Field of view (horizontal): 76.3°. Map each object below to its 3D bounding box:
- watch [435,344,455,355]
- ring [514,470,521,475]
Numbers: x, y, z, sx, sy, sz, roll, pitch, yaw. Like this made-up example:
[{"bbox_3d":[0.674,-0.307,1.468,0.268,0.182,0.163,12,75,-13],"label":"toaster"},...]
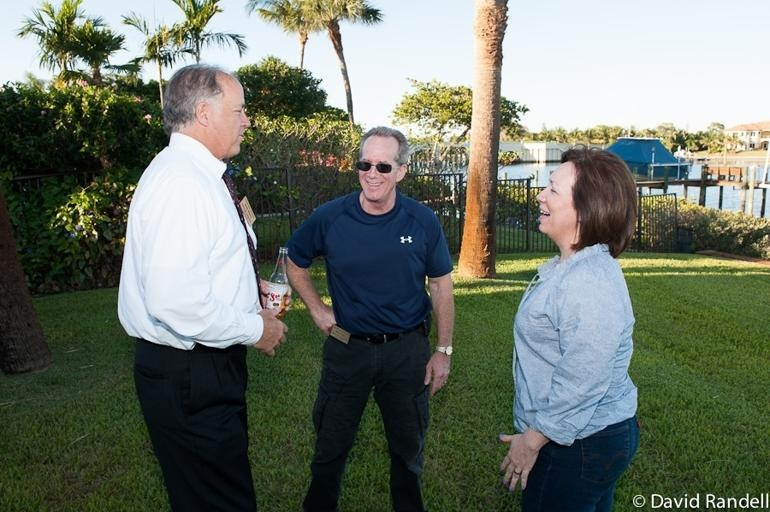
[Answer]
[{"bbox_3d":[0.492,0.809,4.220,0.112,0.073,0.112,1,-2,-24],"label":"watch"},{"bbox_3d":[0.841,1.384,3.120,0.028,0.010,0.031,-1,-2,16],"label":"ring"}]
